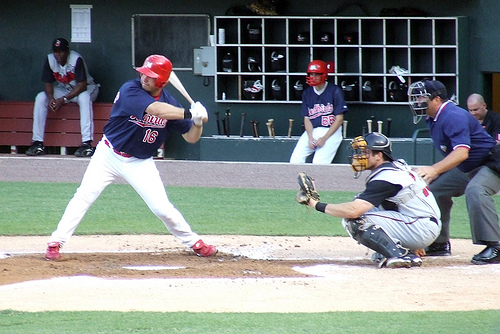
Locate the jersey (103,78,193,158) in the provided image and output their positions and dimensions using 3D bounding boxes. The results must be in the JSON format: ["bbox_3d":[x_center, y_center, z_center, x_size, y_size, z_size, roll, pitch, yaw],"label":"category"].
[{"bbox_3d":[-0.945,-0.433,7.665,0.764,0.694,0.396,-3,17,-12],"label":"jersey"}]

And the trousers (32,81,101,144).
[{"bbox_3d":[-2.544,-0.706,11.546,0.896,0.820,0.729,-2,16,-8],"label":"trousers"}]

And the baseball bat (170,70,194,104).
[{"bbox_3d":[-0.636,-0.739,7.985,0.076,0.463,0.106,-42,25,14],"label":"baseball bat"}]

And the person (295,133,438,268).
[{"bbox_3d":[1.008,0.268,7.834,1.560,1.043,1.041,6,11,-5],"label":"person"}]

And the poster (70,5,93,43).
[{"bbox_3d":[-2.457,-2.082,12.214,0.310,0.533,0.110,2,17,4],"label":"poster"}]

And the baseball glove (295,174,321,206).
[{"bbox_3d":[0.517,0.213,7.803,0.235,0.278,0.101,0,-14,-10],"label":"baseball glove"}]

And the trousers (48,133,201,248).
[{"bbox_3d":[-1.168,0.220,7.790,1.392,1.067,0.361,0,17,-3],"label":"trousers"}]

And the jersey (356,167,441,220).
[{"bbox_3d":[1.335,0.242,7.707,0.581,0.489,0.525,-21,19,11],"label":"jersey"}]

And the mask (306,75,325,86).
[{"bbox_3d":[0.870,-1.144,11.041,0.218,0.163,0.268,-1,15,-5],"label":"mask"}]

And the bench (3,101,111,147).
[{"bbox_3d":[-2.726,-0.621,12.593,2.394,0.599,0.719,2,1,13],"label":"bench"}]
